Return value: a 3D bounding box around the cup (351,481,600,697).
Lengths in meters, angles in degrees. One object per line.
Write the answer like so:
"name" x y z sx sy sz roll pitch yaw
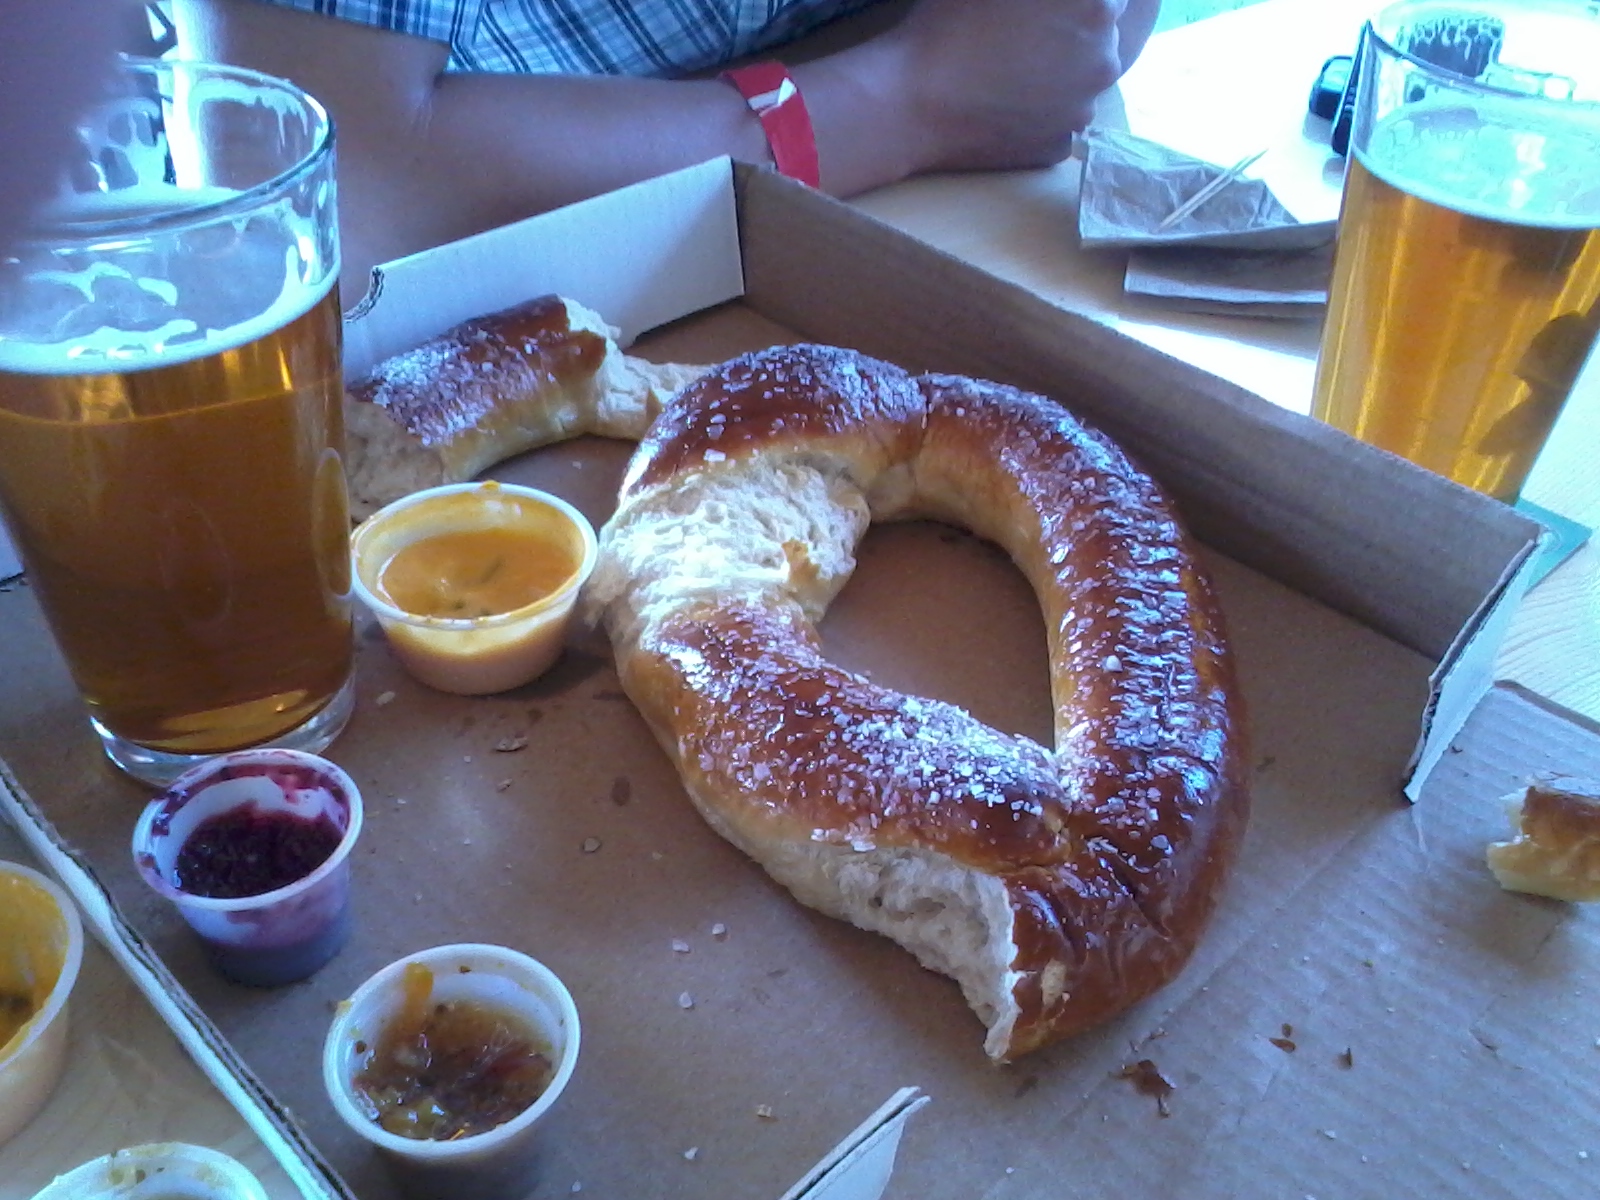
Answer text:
"cup" -0.244 -0.012 1.005 0.164 0.084 0.169 4 43 -4

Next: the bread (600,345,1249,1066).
"bread" 0.051 0.077 0.995 0.365 0.135 0.536 -15 45 -26
